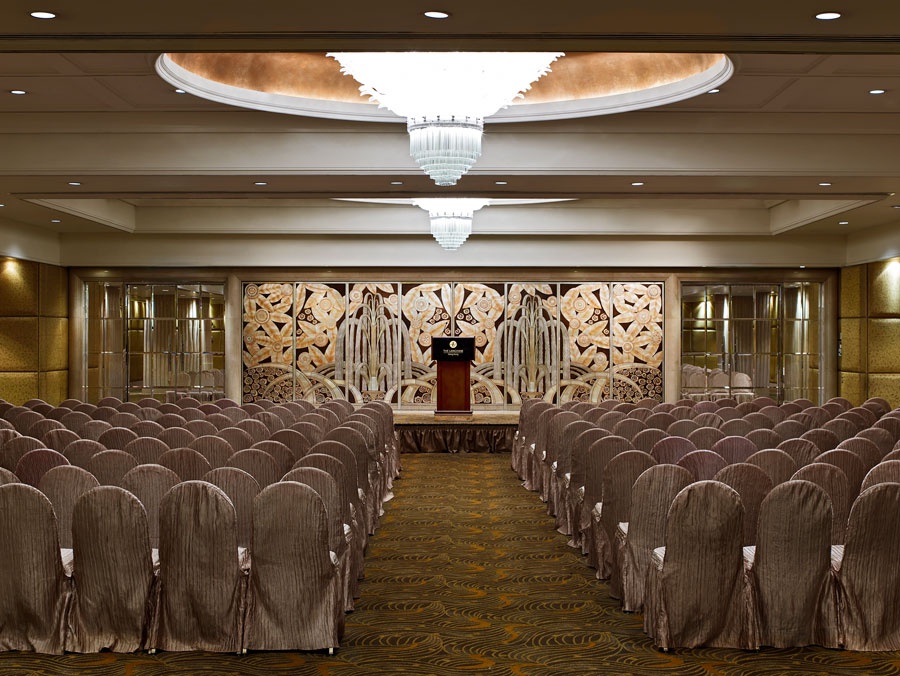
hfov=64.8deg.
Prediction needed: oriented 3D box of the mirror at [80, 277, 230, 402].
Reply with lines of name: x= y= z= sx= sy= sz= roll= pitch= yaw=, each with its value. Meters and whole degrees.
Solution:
mirror: x=-6.189 y=0.214 z=14.819 sx=2.654 sy=2.700 sz=0.086 roll=2 pitch=3 yaw=-7

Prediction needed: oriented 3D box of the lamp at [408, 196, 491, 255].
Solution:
lamp: x=0.056 y=-1.708 z=10.699 sx=0.865 sy=0.558 sz=0.870 roll=-1 pitch=-1 yaw=-7

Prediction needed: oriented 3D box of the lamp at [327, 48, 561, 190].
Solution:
lamp: x=-0.071 y=-1.968 z=6.612 sx=1.926 sy=1.030 sz=1.948 roll=11 pitch=18 yaw=44

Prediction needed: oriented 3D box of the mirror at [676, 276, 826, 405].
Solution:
mirror: x=6.171 y=-0.050 z=14.341 sx=2.542 sy=2.591 sz=0.105 roll=0 pitch=-3 yaw=1
